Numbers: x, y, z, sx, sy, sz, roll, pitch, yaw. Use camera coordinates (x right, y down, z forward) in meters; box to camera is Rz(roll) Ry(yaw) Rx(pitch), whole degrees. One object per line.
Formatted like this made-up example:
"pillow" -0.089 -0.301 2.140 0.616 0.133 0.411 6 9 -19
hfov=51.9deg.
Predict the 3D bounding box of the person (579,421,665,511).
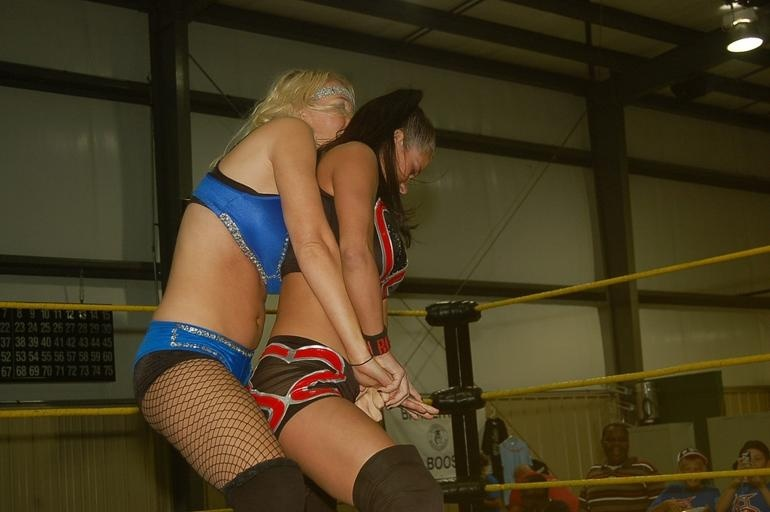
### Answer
"person" 2.509 2.228 8.493 0.850 0.907 0.688 -6 -14 17

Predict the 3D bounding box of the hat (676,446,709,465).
"hat" 3.624 2.306 9.265 0.419 0.213 0.690 -4 -20 12

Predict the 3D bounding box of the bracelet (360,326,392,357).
"bracelet" -0.041 0.502 4.727 0.142 0.158 0.147 -21 -3 15
